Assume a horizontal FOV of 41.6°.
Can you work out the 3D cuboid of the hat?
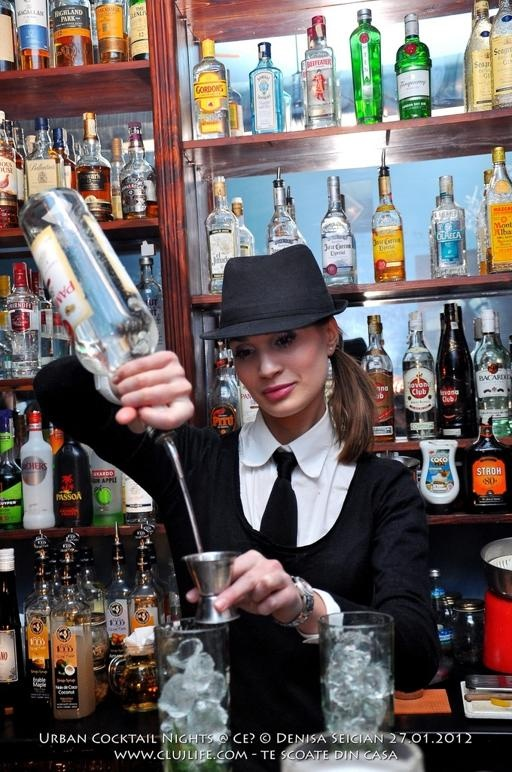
[{"bbox_3d":[0.026,-0.157,1.129,0.204,0.104,0.161,-17,11,-4],"label":"hat"}]

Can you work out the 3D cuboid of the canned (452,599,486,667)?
[{"bbox_3d":[0.547,0.619,1.713,0.075,0.163,0.101,-1,8,28],"label":"canned"}]

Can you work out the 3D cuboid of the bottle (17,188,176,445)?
[{"bbox_3d":[-0.168,-0.072,0.717,0.131,0.279,0.116,-8,7,-18],"label":"bottle"}]
